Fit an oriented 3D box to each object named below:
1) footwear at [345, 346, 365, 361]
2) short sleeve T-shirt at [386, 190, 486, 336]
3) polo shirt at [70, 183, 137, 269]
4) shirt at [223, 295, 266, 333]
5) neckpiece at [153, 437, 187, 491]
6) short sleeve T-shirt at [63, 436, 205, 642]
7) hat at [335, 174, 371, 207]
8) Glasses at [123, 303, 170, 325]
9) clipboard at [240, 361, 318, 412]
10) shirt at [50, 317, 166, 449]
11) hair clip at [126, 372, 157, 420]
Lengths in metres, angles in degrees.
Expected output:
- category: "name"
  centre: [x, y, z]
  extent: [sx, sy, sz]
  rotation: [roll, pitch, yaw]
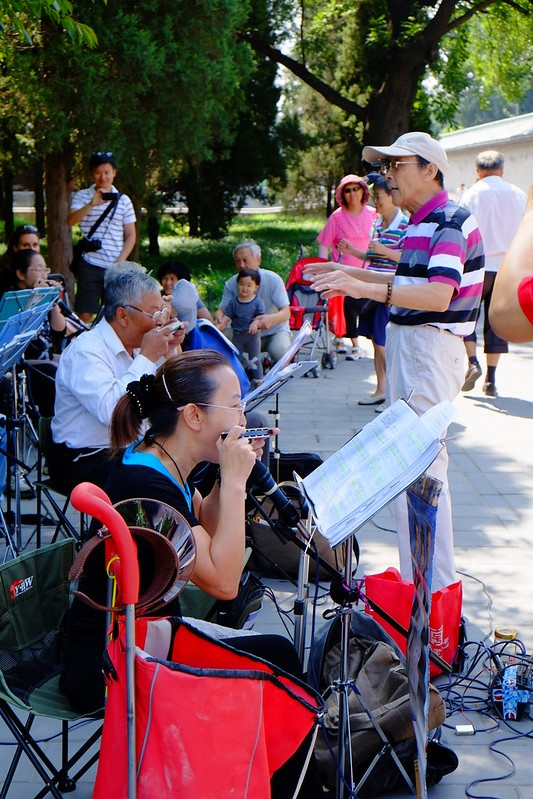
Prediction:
- category: "footwear"
  centre: [0.950, -0.472, 9.682]
  extent: [0.106, 0.131, 0.308]
  rotation: [-2, -1, 18]
- category: "short sleeve T-shirt"
  centre: [0.652, -0.523, 3.493]
  extent: [0.362, 0.531, 0.652]
  rotation: [-2, 11, -7]
- category: "polo shirt"
  centre: [-1.331, -1.421, 7.620]
  extent: [0.607, 0.715, 0.276]
  rotation: [12, 48, 6]
- category: "shirt"
  centre: [-0.184, -0.707, 7.832]
  extent: [0.509, 0.456, 0.278]
  rotation: [0, 6, -2]
- category: "neckpiece"
  centre: [-0.250, 0.169, 2.407]
  extent: [0.131, 0.033, 0.073]
  rotation: [46, 2, 5]
- category: "short sleeve T-shirt"
  centre: [-0.333, 0.380, 2.256]
  extent: [0.328, 0.499, 0.730]
  rotation: [0, 12, -8]
- category: "hat"
  centre: [0.836, -2.026, 8.693]
  extent: [0.294, 0.379, 0.302]
  rotation: [0, 19, 4]
- category: "Glasses"
  centre: [-0.475, -0.345, 3.647]
  extent: [0.107, 0.032, 0.100]
  rotation: [24, 7, 18]
- category: "clipboard"
  centre: [0.042, -0.047, 2.952]
  extent: [0.170, 0.081, 0.208]
  rotation: [-16, 12, 37]
- category: "shirt"
  centre: [-0.636, -0.065, 3.715]
  extent: [0.552, 0.509, 0.444]
  rotation: [-1, 10, 7]
- category: "hair clip"
  centre: [-0.329, -0.009, 2.423]
  extent: [0.051, 0.106, 0.085]
  rotation: [-2, 16, -1]
